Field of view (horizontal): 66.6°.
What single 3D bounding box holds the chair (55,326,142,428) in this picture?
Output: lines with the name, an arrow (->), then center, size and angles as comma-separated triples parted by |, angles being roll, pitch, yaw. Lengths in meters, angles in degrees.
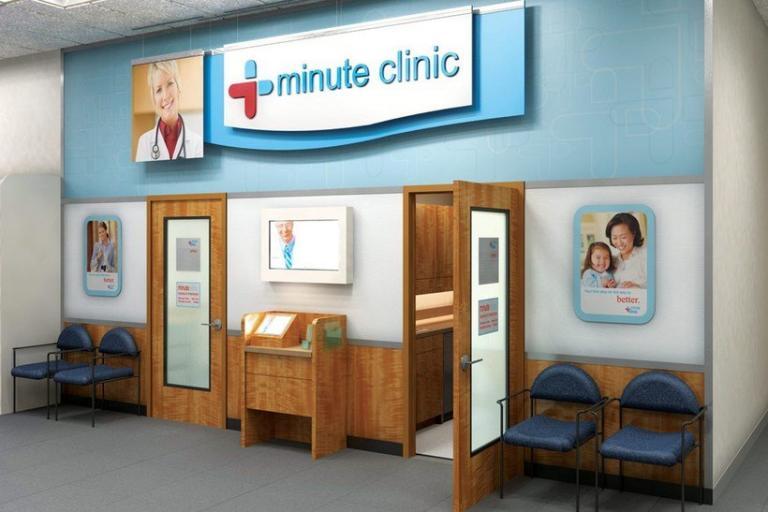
chair -> -3.911, 1.607, 8.004 | 0.871, 1.190, 0.801 | 2, 5, 29

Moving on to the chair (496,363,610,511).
chair -> 1.634, 1.713, 5.723 | 1.012, 1.204, 0.817 | 1, 5, 21

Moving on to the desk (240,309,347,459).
desk -> -1.054, 1.463, 6.905 | 1.192, 1.587, 0.560 | 1, 5, 22

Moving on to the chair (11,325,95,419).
chair -> -4.689, 1.532, 8.262 | 0.745, 1.052, 0.851 | -2, -1, 23
